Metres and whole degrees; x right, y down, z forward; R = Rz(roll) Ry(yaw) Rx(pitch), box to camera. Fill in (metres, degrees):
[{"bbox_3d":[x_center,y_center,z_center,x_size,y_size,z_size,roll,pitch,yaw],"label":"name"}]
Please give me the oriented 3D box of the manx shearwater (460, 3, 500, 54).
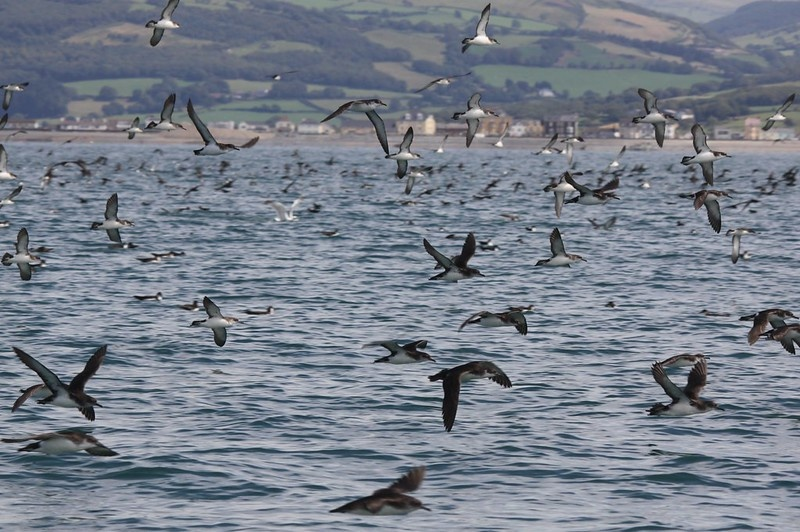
[{"bbox_3d":[6.700,-19.742,124.502,2.789,5.214,6.198,4,32,2],"label":"manx shearwater"}]
